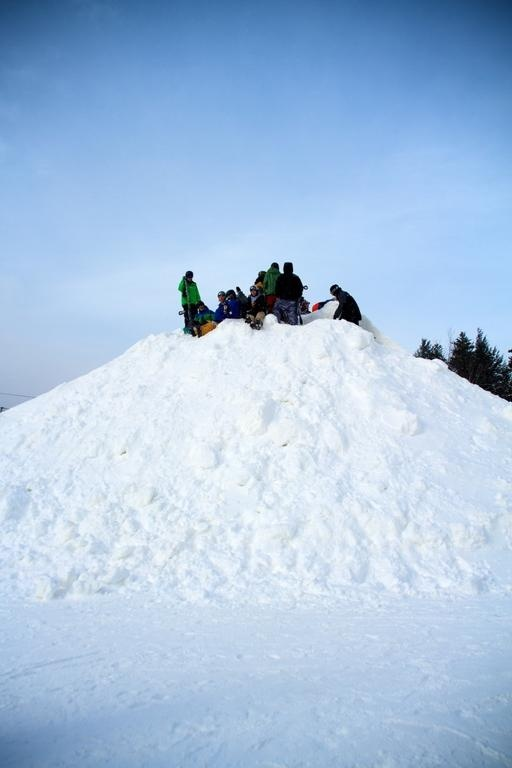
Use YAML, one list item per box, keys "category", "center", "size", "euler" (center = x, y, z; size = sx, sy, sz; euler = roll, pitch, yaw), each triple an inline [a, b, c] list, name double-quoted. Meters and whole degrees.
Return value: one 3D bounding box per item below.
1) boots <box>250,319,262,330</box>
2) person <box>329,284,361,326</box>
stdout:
- category: "boots"
  center: [0.011, -0.908, 10.669]
  size: [0.220, 0.134, 0.128]
  euler: [1, 0, -20]
- category: "person"
  center: [1.492, -1.320, 11.551]
  size: [0.494, 0.695, 1.416]
  euler: [1, 0, 7]
